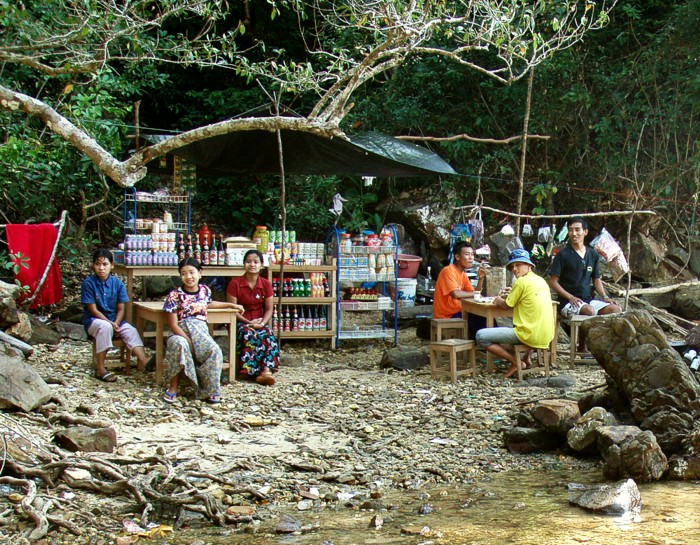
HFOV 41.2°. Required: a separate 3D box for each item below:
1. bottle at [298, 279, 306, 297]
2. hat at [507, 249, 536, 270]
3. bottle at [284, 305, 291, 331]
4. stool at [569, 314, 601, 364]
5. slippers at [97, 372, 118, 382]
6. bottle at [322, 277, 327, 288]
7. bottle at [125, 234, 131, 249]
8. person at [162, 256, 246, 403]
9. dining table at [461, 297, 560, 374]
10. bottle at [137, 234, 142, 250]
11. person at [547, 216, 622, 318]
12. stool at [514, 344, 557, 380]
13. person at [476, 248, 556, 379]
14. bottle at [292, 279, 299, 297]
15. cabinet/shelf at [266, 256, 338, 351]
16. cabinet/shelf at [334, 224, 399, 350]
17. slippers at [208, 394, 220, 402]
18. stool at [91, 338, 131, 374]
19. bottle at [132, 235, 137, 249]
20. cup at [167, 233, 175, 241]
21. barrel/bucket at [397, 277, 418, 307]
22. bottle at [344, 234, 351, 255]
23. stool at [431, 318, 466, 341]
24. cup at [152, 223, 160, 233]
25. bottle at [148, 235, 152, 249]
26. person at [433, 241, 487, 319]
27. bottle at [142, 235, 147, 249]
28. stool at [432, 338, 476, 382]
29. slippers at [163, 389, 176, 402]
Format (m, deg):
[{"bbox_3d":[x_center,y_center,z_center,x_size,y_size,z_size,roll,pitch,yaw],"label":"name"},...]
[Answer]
[{"bbox_3d":[-0.616,0.213,12.362,0.100,0.220,0.030,2,-4,-24],"label":"bottle"},{"bbox_3d":[2.117,-0.170,11.231,0.342,0.178,0.304,4,-5,-35],"label":"hat"},{"bbox_3d":[-0.816,0.622,12.443,0.092,0.342,0.207,1,-4,-6],"label":"bottle"},{"bbox_3d":[2.967,0.870,11.981,0.270,0.603,1.187,0,-4,14],"label":"stool"},{"bbox_3d":[-2.635,1.151,10.147,0.217,0.096,0.101,2,-4,-19],"label":"slippers"},{"bbox_3d":[-0.319,0.131,12.525,0.078,0.103,0.038,2,-7,-34],"label":"bottle"},{"bbox_3d":[-2.757,-0.377,11.647,0.077,0.197,0.141,3,-4,-36],"label":"bottle"},{"bbox_3d":[-1.662,0.617,9.915,0.593,1.534,0.408,1,-3,-12],"label":"person"},{"bbox_3d":[2.108,0.740,11.426,1.226,1.078,0.902,-1,0,-26],"label":"dining table"},{"bbox_3d":[-2.610,-0.380,11.653,0.081,0.164,0.036,1,-3,-14],"label":"bottle"},{"bbox_3d":[3.013,-0.036,11.825,0.983,1.248,0.892,7,10,29],"label":"person"},{"bbox_3d":[2.184,1.106,11.207,0.480,0.425,0.444,0,-3,-13],"label":"stool"},{"bbox_3d":[1.983,0.478,11.071,0.940,1.519,0.598,0,-3,3],"label":"person"},{"bbox_3d":[-0.697,0.203,12.346,0.084,0.219,0.024,1,-3,-5],"label":"bottle"},{"bbox_3d":[-0.559,0.419,12.581,1.289,1.191,0.894,1,-1,-13],"label":"cabinet/shelf"},{"bbox_3d":[0.280,0.234,13.443,0.892,1.613,2.112,0,-4,2],"label":"cabinet/shelf"},{"bbox_3d":[-1.401,1.322,9.769,0.088,0.031,0.086,-1,13,-10],"label":"slippers"},{"bbox_3d":[-2.655,1.005,10.556,0.508,0.472,0.438,0,4,-24],"label":"stool"},{"bbox_3d":[-2.679,-0.371,11.624,0.101,0.162,0.035,3,-4,-32],"label":"bottle"},{"bbox_3d":[-2.241,-0.444,11.769,0.089,0.080,0.087,-2,0,0],"label":"cup"},{"bbox_3d":[0.912,0.312,14.809,0.182,0.455,0.642,-1,-4,30],"label":"barrel/bucket"},{"bbox_3d":[0.004,-0.373,12.670,0.089,0.260,0.210,0,-4,6],"label":"bottle"},{"bbox_3d":[1.237,0.706,11.732,0.347,0.318,0.335,0,1,-14],"label":"stool"},{"bbox_3d":[-2.432,-0.565,11.754,0.086,0.142,0.087,1,-4,0],"label":"cup"},{"bbox_3d":[-2.494,-0.378,11.692,0.076,0.157,0.040,1,-3,-10],"label":"bottle"},{"bbox_3d":[1.394,0.152,11.893,0.604,1.021,0.604,5,-4,21],"label":"person"},{"bbox_3d":[-2.559,-0.377,11.667,0.091,0.155,0.036,2,-4,-18],"label":"bottle"},{"bbox_3d":[1.242,1.042,11.048,0.516,0.474,0.497,-2,3,-19],"label":"stool"},{"bbox_3d":[-1.866,1.301,9.717,0.134,0.127,0.180,1,-4,-12],"label":"slippers"}]
